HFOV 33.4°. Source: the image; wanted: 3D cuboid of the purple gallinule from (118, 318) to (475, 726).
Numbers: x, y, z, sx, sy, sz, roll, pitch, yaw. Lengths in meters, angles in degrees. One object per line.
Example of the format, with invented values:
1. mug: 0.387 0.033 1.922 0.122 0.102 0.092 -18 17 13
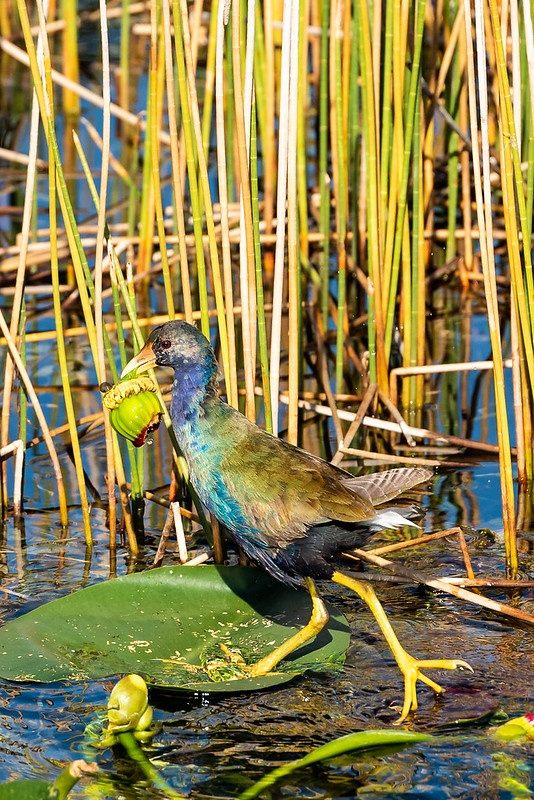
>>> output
1. purple gallinule: 0.082 0.227 2.328 0.915 0.886 0.540 4 10 42
